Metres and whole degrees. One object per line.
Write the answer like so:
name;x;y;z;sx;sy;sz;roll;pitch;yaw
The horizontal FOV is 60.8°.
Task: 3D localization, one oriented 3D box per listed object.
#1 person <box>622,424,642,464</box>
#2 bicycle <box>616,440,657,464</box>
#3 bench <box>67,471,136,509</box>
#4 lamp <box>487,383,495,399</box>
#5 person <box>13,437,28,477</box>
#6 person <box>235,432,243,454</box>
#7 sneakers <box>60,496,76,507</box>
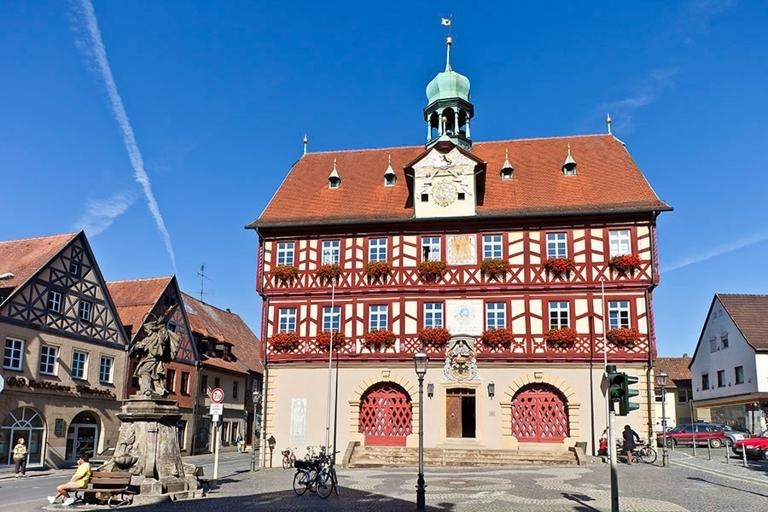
person;12.289;9.445;32.868;0.640;1.858;1.438;-7;-20;17
bicycle;13.113;10.032;33.561;1.891;1.123;0.928;-3;-7;-1
bench;-10.217;8.541;24.049;2.205;1.234;1.027;-6;-20;16
lamp;5.926;7.451;36.468;0.392;0.876;0.309;-3;-19;7
person;-19.424;10.768;35.012;0.671;1.910;1.447;9;-21;-26
person;-12.436;15.905;56.153;0.528;1.563;1.438;4;-20;-14
sneakers;-11.428;8.937;23.884;0.230;0.282;0.633;-36;-30;32
